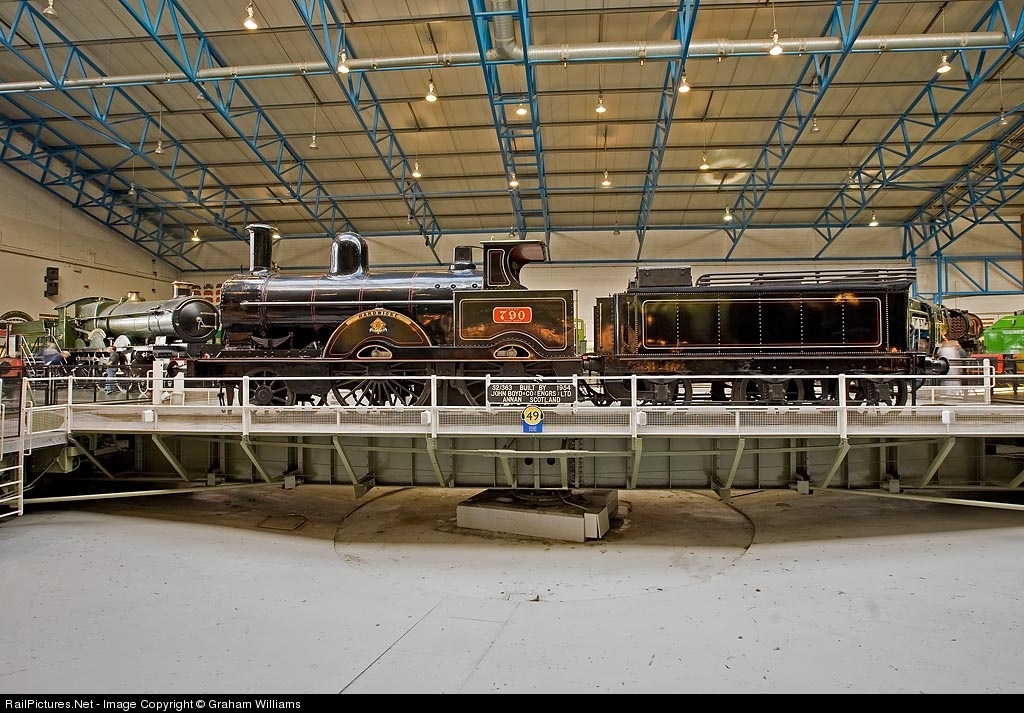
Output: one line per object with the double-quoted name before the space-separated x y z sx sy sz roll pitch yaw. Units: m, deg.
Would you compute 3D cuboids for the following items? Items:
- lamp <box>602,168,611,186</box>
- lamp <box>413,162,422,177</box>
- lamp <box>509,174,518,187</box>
"lamp" 4.459 -8.364 34.693 0.550 0.518 0.538 -1 -3 0
"lamp" -4.556 -8.766 34.835 0.339 0.682 0.957 -3 -2 2
"lamp" 0.063 -8.050 33.645 0.483 0.454 0.459 -6 5 -42
